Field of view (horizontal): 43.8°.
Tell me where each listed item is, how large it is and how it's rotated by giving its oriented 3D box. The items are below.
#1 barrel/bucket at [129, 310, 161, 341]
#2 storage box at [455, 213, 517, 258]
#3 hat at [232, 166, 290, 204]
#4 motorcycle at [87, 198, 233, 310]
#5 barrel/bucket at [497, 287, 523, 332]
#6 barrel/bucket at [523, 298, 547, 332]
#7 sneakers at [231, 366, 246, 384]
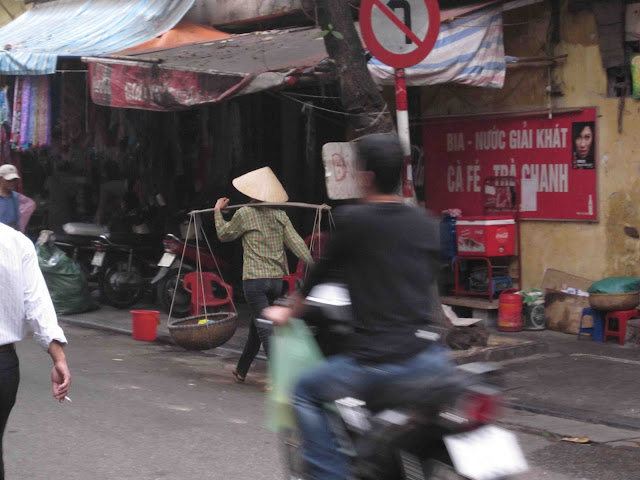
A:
[{"bbox_3d":[-2.177,1.069,9.983,0.407,0.317,0.373,0,-11,0],"label":"barrel/bucket"},{"bbox_3d":[2.164,-0.055,10.317,0.613,0.412,0.601,0,0,-32],"label":"storage box"},{"bbox_3d":[-0.567,-0.536,7.994,0.464,0.194,0.409,23,21,-4],"label":"hat"},{"bbox_3d":[-1.980,0.467,11.904,2.505,1.501,1.102,1,0,-19],"label":"motorcycle"},{"bbox_3d":[2.542,0.902,10.169,0.443,0.599,0.462,0,2,0],"label":"barrel/bucket"},{"bbox_3d":[2.719,0.969,10.081,0.347,0.362,0.344,0,-2,0],"label":"barrel/bucket"},{"bbox_3d":[-0.812,1.346,7.971,0.086,0.076,0.219,5,13,-16],"label":"sneakers"}]
